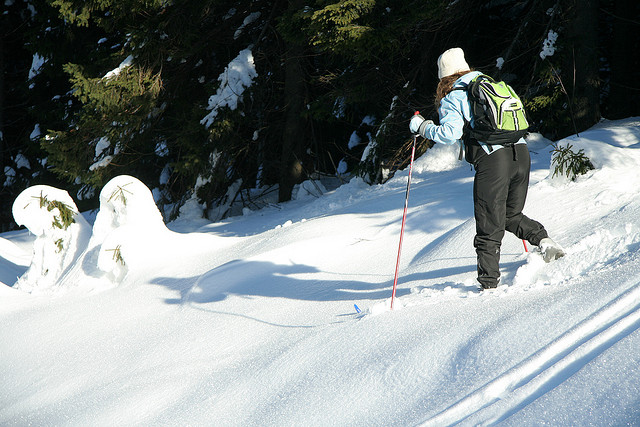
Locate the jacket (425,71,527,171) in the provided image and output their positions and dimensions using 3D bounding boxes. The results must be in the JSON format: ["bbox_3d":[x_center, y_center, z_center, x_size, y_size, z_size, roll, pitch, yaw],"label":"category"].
[{"bbox_3d":[2.012,-1.170,8.217,0.809,1.244,1.222,-7,-19,-22],"label":"jacket"}]

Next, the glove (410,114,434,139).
[{"bbox_3d":[1.227,-1.093,8.131,0.201,0.300,0.160,-5,49,9],"label":"glove"}]
